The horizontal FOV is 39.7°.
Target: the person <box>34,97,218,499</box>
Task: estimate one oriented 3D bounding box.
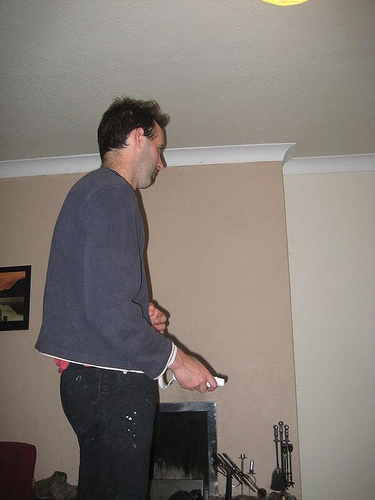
[{"bbox_3d":[-0.221,0.051,1.639,0.498,1.303,0.589,0,-3,-16],"label":"person"}]
